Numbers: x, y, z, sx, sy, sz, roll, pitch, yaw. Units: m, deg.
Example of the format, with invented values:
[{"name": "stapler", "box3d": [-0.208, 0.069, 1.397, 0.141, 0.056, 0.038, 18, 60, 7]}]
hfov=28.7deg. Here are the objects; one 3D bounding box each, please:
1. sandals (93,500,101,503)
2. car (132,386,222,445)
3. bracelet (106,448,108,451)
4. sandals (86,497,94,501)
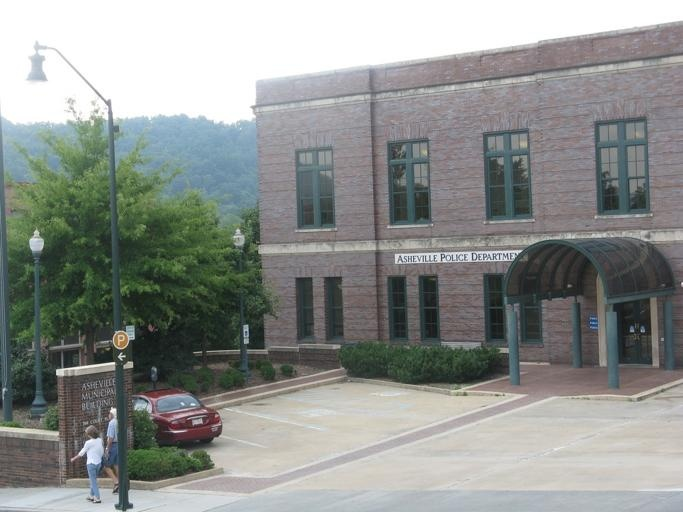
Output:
[{"name": "sandals", "box3d": [-7.565, 7.567, 41.334, 0.224, 0.115, 0.103, -2, -6, -11]}, {"name": "car", "box3d": [-5.578, 5.556, 46.105, 2.816, 1.825, 1.469, -2, -6, -9]}, {"name": "bracelet", "box3d": [-7.409, 6.085, 42.177, 0.052, 0.148, 0.117, 2, 6, -12]}, {"name": "sandals", "box3d": [-7.811, 7.543, 41.534, 0.288, 0.111, 0.105, 0, -2, 32]}]
